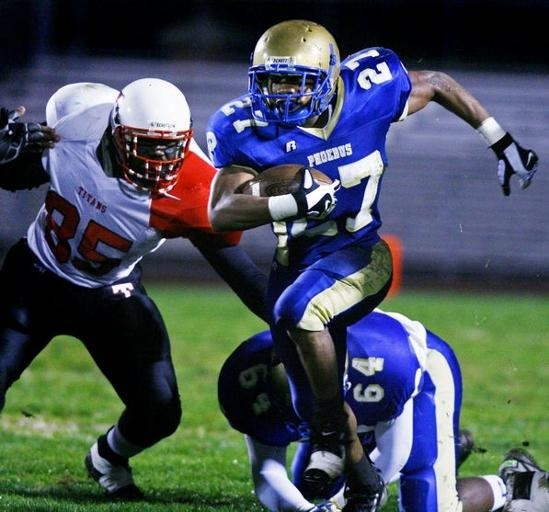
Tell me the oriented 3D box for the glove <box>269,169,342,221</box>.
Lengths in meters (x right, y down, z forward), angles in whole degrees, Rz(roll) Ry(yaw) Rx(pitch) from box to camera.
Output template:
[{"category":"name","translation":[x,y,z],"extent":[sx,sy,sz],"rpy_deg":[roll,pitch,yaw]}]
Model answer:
[{"category":"glove","translation":[0.110,-0.202,3.399],"extent":[0.225,0.187,0.099],"rpy_deg":[-18,37,6]}]

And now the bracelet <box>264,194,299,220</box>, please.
[{"category":"bracelet","translation":[0.034,-0.172,3.398],"extent":[0.104,0.085,0.077],"rpy_deg":[-24,3,14]}]

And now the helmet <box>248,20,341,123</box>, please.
[{"category":"helmet","translation":[0.093,-0.721,3.659],"extent":[0.357,0.303,0.418],"rpy_deg":[2,24,20]}]

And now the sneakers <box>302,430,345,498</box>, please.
[{"category":"sneakers","translation":[0.194,0.782,3.507],"extent":[0.118,0.310,0.152],"rpy_deg":[12,21,25]}]

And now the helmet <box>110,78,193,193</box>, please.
[{"category":"helmet","translation":[-0.533,-0.517,3.900],"extent":[0.384,0.439,0.460],"rpy_deg":[-5,33,-17]}]
